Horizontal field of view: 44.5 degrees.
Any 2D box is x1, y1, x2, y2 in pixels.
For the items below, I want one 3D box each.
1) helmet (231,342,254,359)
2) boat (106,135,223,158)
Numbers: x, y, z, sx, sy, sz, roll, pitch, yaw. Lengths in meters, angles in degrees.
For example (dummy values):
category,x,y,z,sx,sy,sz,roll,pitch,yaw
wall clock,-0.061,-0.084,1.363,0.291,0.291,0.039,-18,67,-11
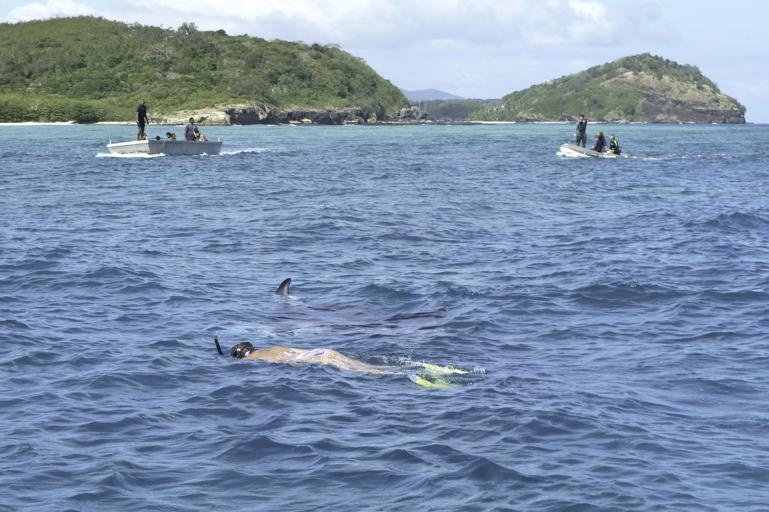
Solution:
category,x,y,z,sx,sy,sz,roll,pitch,yaw
helmet,-2.680,1.779,17.685,0.329,0.182,0.408,-13,4,-40
boat,-10.965,-5.416,47.009,5.605,0.844,3.564,-2,7,-11
